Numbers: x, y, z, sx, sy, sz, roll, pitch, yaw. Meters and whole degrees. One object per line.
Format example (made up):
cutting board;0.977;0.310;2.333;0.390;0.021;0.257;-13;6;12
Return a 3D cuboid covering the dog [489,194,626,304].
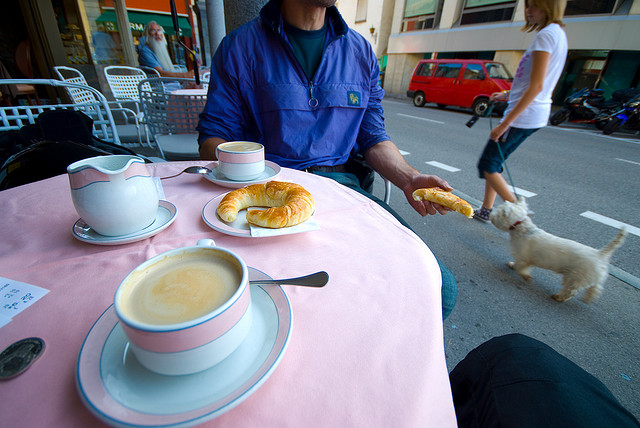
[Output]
dog;1.692;0.239;2.686;0.284;0.662;0.861;-20;30;-30

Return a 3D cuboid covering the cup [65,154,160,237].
cup;-0.833;-0.090;1.472;0.285;0.292;0.375;-16;21;-32

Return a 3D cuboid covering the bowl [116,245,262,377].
bowl;-0.428;0.295;1.227;0.359;0.245;0.501;7;27;6

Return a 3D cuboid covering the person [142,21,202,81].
person;-2.299;-2.366;5.439;0.727;0.928;0.589;11;28;24

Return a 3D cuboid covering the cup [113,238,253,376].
cup;-0.436;0.277;1.221;0.370;0.212;0.528;1;26;-3

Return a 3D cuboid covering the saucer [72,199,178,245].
saucer;-0.757;0.042;1.423;0.378;0.074;0.206;-11;36;-26
